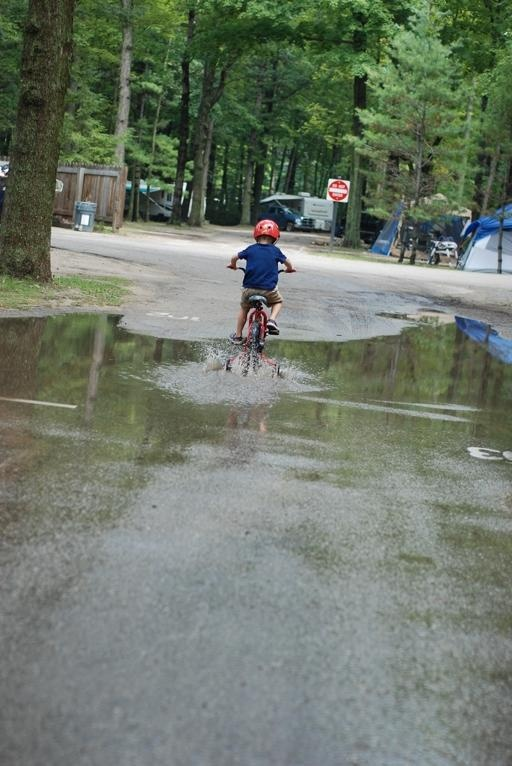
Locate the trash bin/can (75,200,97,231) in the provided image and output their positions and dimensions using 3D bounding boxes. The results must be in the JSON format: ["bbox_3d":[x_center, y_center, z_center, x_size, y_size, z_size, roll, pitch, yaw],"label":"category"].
[{"bbox_3d":[-7.976,-7.611,30.785,0.897,1.338,1.704,3,10,-19],"label":"trash bin/can"}]

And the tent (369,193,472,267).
[{"bbox_3d":[11.250,-9.867,44.912,5.097,2.469,7.353,8,8,23],"label":"tent"}]

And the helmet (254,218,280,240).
[{"bbox_3d":[0.134,-1.913,8.285,0.241,0.296,0.317,3,19,2],"label":"helmet"}]

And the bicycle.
[{"bbox_3d":[-0.011,-0.570,8.636,0.706,0.975,1.584,4,0,1],"label":"bicycle"}]

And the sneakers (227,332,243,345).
[{"bbox_3d":[-0.284,-0.561,8.608,0.087,0.105,0.227,0,18,-23],"label":"sneakers"}]

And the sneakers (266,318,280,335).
[{"bbox_3d":[0.214,-0.679,8.247,0.098,0.103,0.226,48,-2,15],"label":"sneakers"}]
